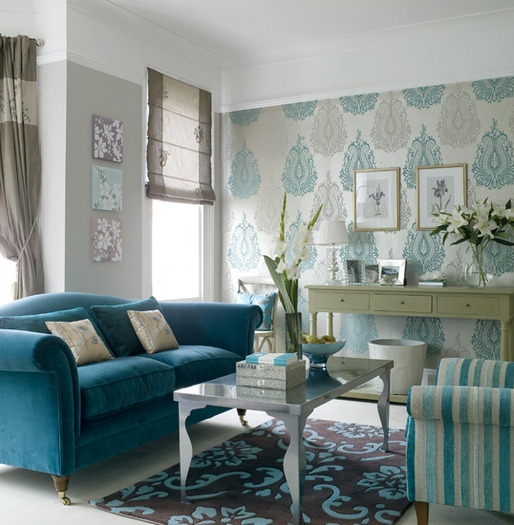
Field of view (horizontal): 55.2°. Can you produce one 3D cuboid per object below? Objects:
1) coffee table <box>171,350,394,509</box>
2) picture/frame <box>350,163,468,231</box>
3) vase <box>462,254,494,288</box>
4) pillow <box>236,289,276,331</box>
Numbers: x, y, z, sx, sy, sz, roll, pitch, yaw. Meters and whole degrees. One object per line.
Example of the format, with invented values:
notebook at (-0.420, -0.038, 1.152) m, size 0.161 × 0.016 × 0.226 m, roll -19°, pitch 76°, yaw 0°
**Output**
coffee table at (0.209, 0.768, 2.439) m, size 0.627 × 0.469 × 1.349 m, roll -3°, pitch -4°, yaw 30°
picture/frame at (1.359, -0.566, 4.274) m, size 0.703 × 0.403 × 0.029 m, roll 1°, pitch 3°, yaw 28°
vase at (1.756, 0.040, 3.947) m, size 0.227 × 0.316 × 0.233 m, roll 3°, pitch 9°, yaw 18°
pillow at (0.002, 0.392, 3.958) m, size 0.408 × 0.313 × 0.151 m, roll -4°, pitch -6°, yaw 40°
